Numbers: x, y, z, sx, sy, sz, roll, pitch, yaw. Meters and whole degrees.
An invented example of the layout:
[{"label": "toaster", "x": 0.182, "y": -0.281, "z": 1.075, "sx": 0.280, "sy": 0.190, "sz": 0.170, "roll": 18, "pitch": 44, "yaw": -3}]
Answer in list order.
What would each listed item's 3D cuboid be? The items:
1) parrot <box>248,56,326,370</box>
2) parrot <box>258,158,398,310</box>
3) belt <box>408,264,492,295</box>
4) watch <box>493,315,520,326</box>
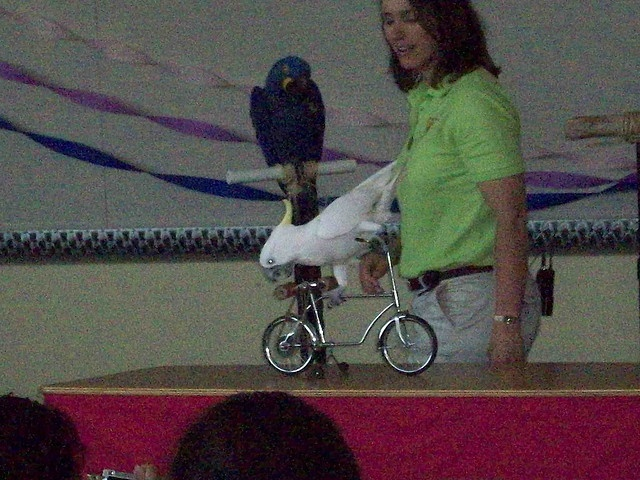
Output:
[{"label": "parrot", "x": -0.055, "y": -0.169, "z": 5.090, "sx": 0.217, "sy": 0.763, "sz": 0.289, "roll": -6, "pitch": -3, "yaw": -16}, {"label": "parrot", "x": 0.071, "y": -0.026, "z": 5.024, "sx": 0.579, "sy": 0.320, "sz": 0.178, "roll": -35, "pitch": 20, "yaw": -26}, {"label": "belt", "x": 0.372, "y": 0.114, "z": 5.018, "sx": 0.321, "sy": 0.085, "sz": 0.082, "roll": -6, "pitch": 8, "yaw": 19}, {"label": "watch", "x": 0.544, "y": 0.236, "z": 4.865, "sx": 0.070, "sy": 0.027, "sz": 0.014, "roll": 0, "pitch": 2, "yaw": 0}]
